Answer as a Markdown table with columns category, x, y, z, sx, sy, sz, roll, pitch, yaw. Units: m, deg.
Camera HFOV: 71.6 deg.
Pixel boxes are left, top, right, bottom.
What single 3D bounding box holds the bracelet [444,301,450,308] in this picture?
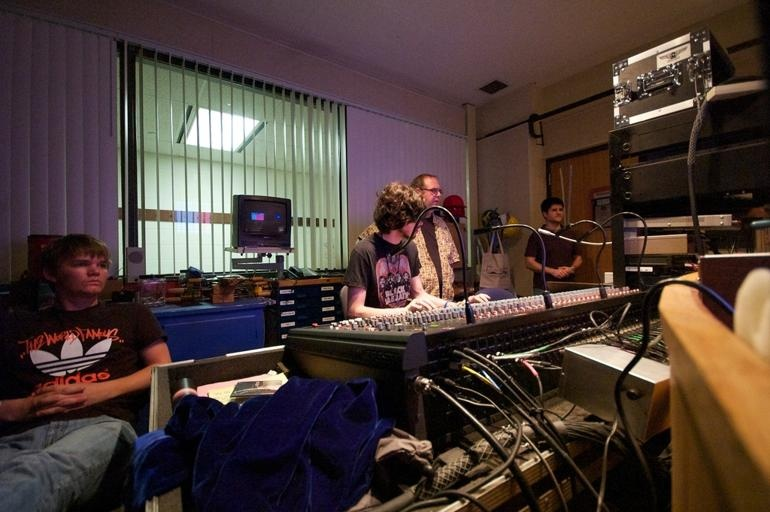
| category | x | y | z | sx | sy | sz | roll | pitch | yaw |
| --- | --- | --- | --- | --- | --- | --- | --- | --- | --- |
| bracelet | 0.371 | 0.296 | 3.229 | 0.013 | 0.046 | 0.053 | 7 | 7 | -9 |

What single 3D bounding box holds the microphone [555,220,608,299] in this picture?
| category | x | y | z | sx | sy | sz | roll | pitch | yaw |
| --- | --- | --- | --- | --- | --- | --- | --- | --- | --- |
| microphone | 1.245 | 0.045 | 3.241 | 0.256 | 0.496 | 0.279 | 2 | -8 | -28 |

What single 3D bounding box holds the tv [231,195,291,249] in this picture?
| category | x | y | z | sx | sy | sz | roll | pitch | yaw |
| --- | --- | --- | --- | --- | --- | --- | --- | --- | --- |
| tv | -1.161 | -0.291 | 5.017 | 0.499 | 0.496 | 0.339 | 2 | -7 | -28 |

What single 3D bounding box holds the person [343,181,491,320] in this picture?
| category | x | y | z | sx | sy | sz | roll | pitch | yaw |
| --- | --- | --- | --- | --- | --- | --- | --- | --- | --- |
| person | 0.158 | 0.007 | 3.627 | 0.892 | 1.156 | 0.836 | -3 | 0 | 26 |

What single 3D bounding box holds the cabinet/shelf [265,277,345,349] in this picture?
| category | x | y | z | sx | sy | sz | roll | pitch | yaw |
| --- | --- | --- | --- | --- | --- | --- | --- | --- | --- |
| cabinet/shelf | -0.670 | 0.436 | 4.194 | 0.670 | 0.624 | 0.237 | 0 | -4 | -41 |

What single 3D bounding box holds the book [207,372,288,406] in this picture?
| category | x | y | z | sx | sy | sz | roll | pitch | yaw |
| --- | --- | --- | --- | --- | --- | --- | --- | --- | --- |
| book | -0.665 | 0.622 | 2.518 | 0.407 | 0.092 | 0.225 | -5 | 3 | -15 |

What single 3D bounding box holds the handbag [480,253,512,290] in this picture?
| category | x | y | z | sx | sy | sz | roll | pitch | yaw |
| --- | --- | --- | --- | --- | --- | --- | --- | --- | --- |
| handbag | 1.203 | 0.175 | 5.812 | 0.368 | 0.496 | 0.206 | 1 | 5 | 15 |
